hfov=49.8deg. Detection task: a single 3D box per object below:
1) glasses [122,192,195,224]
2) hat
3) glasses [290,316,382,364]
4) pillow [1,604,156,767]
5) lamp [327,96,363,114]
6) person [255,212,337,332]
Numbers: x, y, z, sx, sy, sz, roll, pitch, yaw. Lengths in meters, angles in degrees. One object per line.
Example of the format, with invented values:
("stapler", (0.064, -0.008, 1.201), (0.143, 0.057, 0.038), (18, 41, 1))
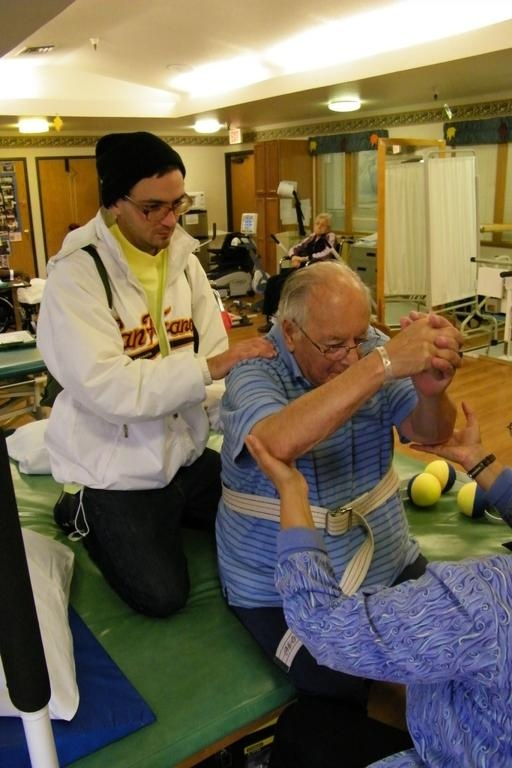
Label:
("glasses", (-0.309, -0.542, 1.631), (0.121, 0.040, 0.120), (-22, 41, -36))
("hat", (-0.337, -0.637, 1.640), (0.253, 0.205, 0.205), (9, 24, 14))
("glasses", (0.208, -0.112, 1.258), (0.237, 0.085, 0.123), (-11, 14, -34))
("pillow", (-0.440, 0.663, 1.180), (0.284, 0.069, 0.392), (-12, 15, -39))
("lamp", (1.036, -3.324, 6.478), (0.379, 0.140, 0.495), (-2, 12, 6))
("person", (0.491, -1.267, 6.320), (0.782, 1.302, 0.592), (-1, 16, -26))
